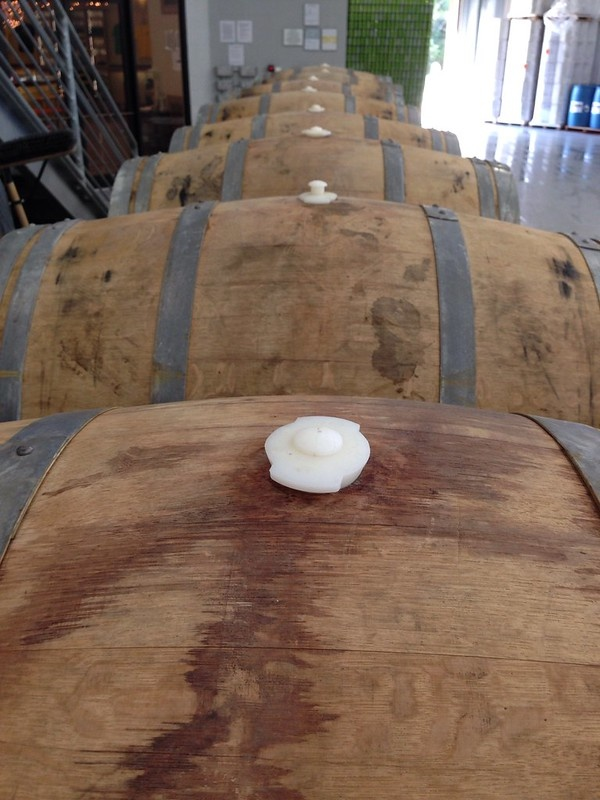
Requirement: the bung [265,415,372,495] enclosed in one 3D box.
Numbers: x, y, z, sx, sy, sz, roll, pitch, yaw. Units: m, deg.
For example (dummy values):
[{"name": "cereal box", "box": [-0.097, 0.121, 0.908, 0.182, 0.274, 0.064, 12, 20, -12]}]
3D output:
[{"name": "bung", "box": [0.019, 0.057, 0.774, 0.118, 0.043, 0.131, 12, 37, 12]}]
